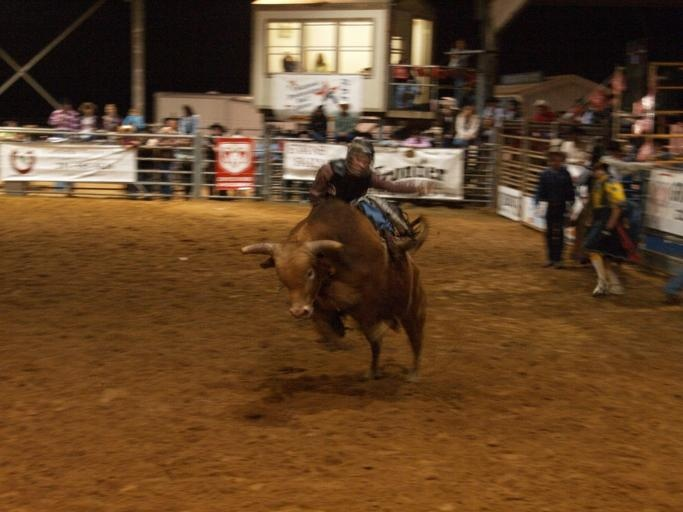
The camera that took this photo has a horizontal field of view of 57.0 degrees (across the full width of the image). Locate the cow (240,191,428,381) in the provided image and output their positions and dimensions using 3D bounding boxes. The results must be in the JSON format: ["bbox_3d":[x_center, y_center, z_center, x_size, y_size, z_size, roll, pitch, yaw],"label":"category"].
[{"bbox_3d":[0.038,0.394,5.719,1.630,1.813,0.628,-11,19,-42],"label":"cow"}]

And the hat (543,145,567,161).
[{"bbox_3d":[3.519,-1.634,10.292,0.243,0.267,0.308,3,13,9],"label":"hat"}]
